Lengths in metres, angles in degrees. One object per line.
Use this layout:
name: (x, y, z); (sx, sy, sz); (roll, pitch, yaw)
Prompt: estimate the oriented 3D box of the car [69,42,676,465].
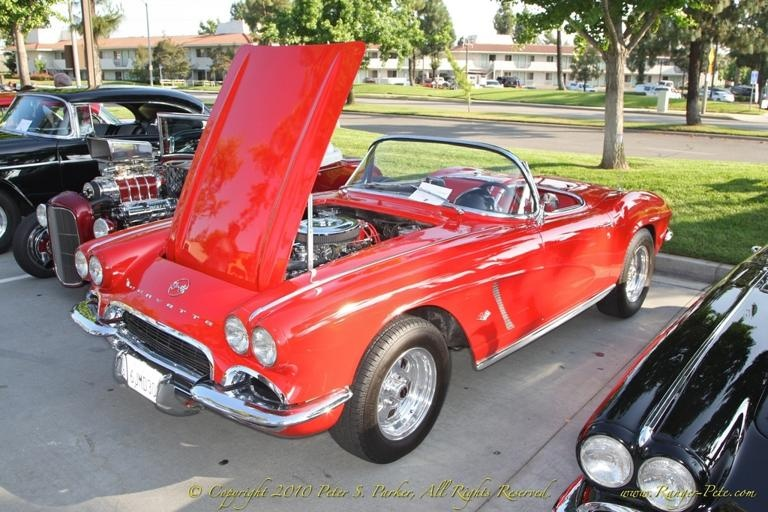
car: (0.309, -0.363, 4.595); (5.039, 2.384, 2.559); (-12, 16, -42)
